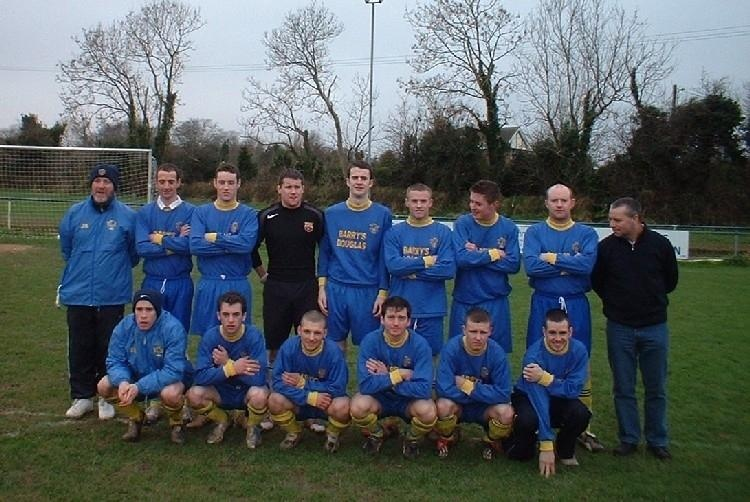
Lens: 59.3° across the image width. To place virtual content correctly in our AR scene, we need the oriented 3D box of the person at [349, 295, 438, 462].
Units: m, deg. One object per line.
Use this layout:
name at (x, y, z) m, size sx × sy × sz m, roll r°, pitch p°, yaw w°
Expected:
person at (0.251, 1.535, 8.235) m, size 1.077 × 1.863 × 1.054 m, roll 1°, pitch 4°, yaw 15°

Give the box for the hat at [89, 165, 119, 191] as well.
hat at (-3.600, -1.005, 8.853) m, size 0.395 × 0.354 × 0.305 m, roll 12°, pitch -1°, yaw -13°

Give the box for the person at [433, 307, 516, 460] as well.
person at (1.264, 1.626, 8.113) m, size 0.960 × 1.719 × 1.018 m, roll 7°, pitch 15°, yaw 25°

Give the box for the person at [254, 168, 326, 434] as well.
person at (-1.205, 0.658, 9.054) m, size 0.998 × 3.483 × 0.854 m, roll -1°, pitch 1°, yaw -13°

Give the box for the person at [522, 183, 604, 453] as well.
person at (2.466, 0.806, 8.652) m, size 0.841 × 3.319 × 0.771 m, roll 1°, pitch 6°, yaw 32°

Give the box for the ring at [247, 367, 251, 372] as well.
ring at (-1.564, 1.465, 8.161) m, size 0.044 × 0.034 × 0.011 m, roll -13°, pitch -14°, yaw -1°

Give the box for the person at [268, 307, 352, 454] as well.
person at (-0.756, 1.607, 8.231) m, size 0.998 × 1.633 × 0.915 m, roll 3°, pitch 12°, yaw 12°

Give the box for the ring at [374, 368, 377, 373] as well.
ring at (0.001, 1.467, 8.057) m, size 0.050 × 0.054 × 0.017 m, roll -3°, pitch -2°, yaw 4°

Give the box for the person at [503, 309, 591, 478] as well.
person at (2.102, 1.659, 7.910) m, size 0.963 × 1.873 × 0.629 m, roll 2°, pitch 5°, yaw 13°

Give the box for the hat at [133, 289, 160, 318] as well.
hat at (-2.837, 0.643, 8.163) m, size 0.276 × 0.281 × 0.332 m, roll 3°, pitch -4°, yaw -3°

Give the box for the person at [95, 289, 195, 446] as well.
person at (-2.860, 1.475, 8.338) m, size 1.083 × 1.870 × 1.310 m, roll 7°, pitch 9°, yaw 30°

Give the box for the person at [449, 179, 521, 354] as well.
person at (1.445, 0.488, 8.879) m, size 0.886 × 2.777 × 0.748 m, roll 3°, pitch 17°, yaw 10°
